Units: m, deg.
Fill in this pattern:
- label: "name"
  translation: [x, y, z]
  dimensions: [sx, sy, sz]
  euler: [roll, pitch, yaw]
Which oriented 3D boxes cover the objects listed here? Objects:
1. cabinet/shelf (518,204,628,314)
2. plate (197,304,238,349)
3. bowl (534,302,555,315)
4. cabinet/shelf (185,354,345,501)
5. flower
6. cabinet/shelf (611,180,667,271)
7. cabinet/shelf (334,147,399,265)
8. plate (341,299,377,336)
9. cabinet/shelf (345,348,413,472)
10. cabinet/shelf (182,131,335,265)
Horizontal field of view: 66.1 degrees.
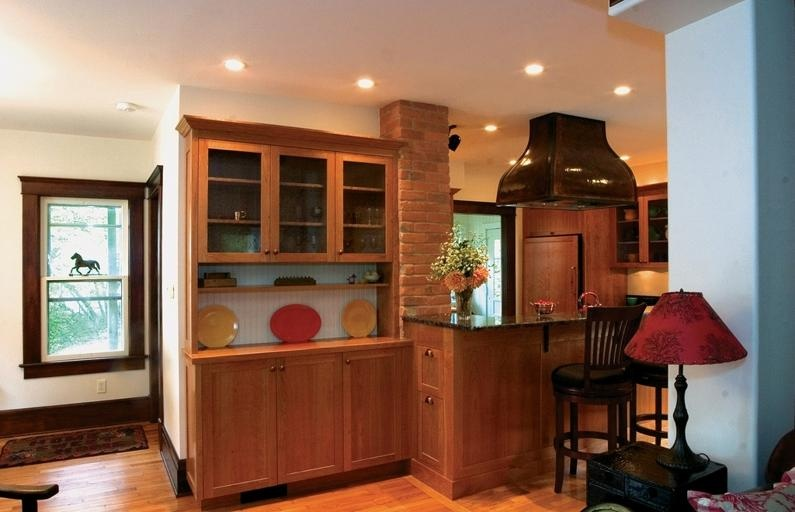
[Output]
- label: "cabinet/shelf"
  translation: [2.345, 0.341, 8.787]
  dimensions: [1.146, 1.565, 1.098]
  euler: [-19, 24, -30]
- label: "plate"
  translation: [-1.555, 0.619, 5.277]
  dimensions: [0.370, 0.335, 0.062]
  euler: [3, -6, -34]
- label: "bowl"
  translation: [1.365, 0.481, 5.644]
  dimensions: [0.148, 0.080, 0.139]
  euler: [1, -2, 0]
- label: "cabinet/shelf"
  translation: [-1.161, 1.431, 5.074]
  dimensions: [1.361, 1.043, 0.508]
  euler: [0, -4, -25]
- label: "flower"
  translation: [0.554, 0.245, 5.458]
  dimensions: [0.399, 0.585, 0.419]
  euler: [-11, 0, -41]
- label: "cabinet/shelf"
  translation: [3.221, -0.390, 7.993]
  dimensions: [0.284, 1.114, 0.794]
  euler: [-12, 16, -37]
- label: "cabinet/shelf"
  translation: [-0.218, -0.413, 5.470]
  dimensions: [0.603, 0.925, 0.333]
  euler: [4, 2, 27]
- label: "plate"
  translation: [-0.363, 0.596, 5.776]
  dimensions: [0.392, 0.348, 0.056]
  euler: [-2, -6, 29]
- label: "cabinet/shelf"
  translation: [-0.165, 1.332, 5.425]
  dimensions: [0.678, 0.988, 0.335]
  euler: [-4, 14, -11]
- label: "cabinet/shelf"
  translation: [-1.235, -0.501, 5.174]
  dimensions: [1.306, 1.011, 0.487]
  euler: [0, -2, -23]
